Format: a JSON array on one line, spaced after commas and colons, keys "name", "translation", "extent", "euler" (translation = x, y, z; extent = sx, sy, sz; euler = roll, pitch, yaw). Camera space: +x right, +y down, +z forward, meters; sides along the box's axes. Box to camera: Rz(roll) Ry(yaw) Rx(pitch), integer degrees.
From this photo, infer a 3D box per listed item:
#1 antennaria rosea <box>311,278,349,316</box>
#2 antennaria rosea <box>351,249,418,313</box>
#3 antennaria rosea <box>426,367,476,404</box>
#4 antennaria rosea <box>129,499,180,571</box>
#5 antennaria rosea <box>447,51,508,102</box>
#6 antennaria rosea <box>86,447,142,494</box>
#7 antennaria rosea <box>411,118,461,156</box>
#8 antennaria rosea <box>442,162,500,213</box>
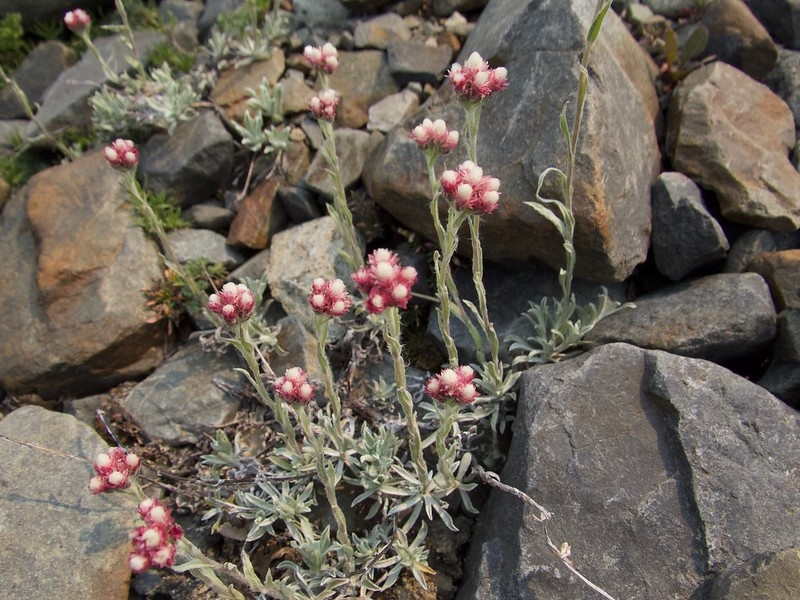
[{"name": "antennaria rosea", "translation": [-0.464, -0.016, 5.601], "extent": [0.189, 0.148, 0.272], "euler": [-6, 99, -6]}, {"name": "antennaria rosea", "translation": [-0.089, -0.115, 5.368], "extent": [0.371, 0.273, 0.378], "euler": [-29, 64, -19]}, {"name": "antennaria rosea", "translation": [0.335, 0.535, 5.578], "extent": [0.226, 0.256, 0.203], "euler": [-14, 63, 5]}, {"name": "antennaria rosea", "translation": [-1.513, 1.449, 5.332], "extent": [0.222, 0.404, 0.382], "euler": [1, 68, 4]}, {"name": "antennaria rosea", "translation": [0.467, -1.441, 5.802], "extent": [0.292, 0.299, 0.303], "euler": [-7, 64, -23]}, {"name": "antennaria rosea", "translation": [-1.872, 1.094, 5.625], "extent": [0.265, 0.308, 0.249], "euler": [8, 99, 5]}, {"name": "antennaria rosea", "translation": [0.226, -1.124, 5.754], "extent": [0.248, 0.241, 0.170], "euler": [18, 76, 48]}, {"name": "antennaria rosea", "translation": [0.451, -0.703, 5.536], "extent": [0.341, 0.208, 0.296], "euler": [-11, 60, -10]}]
